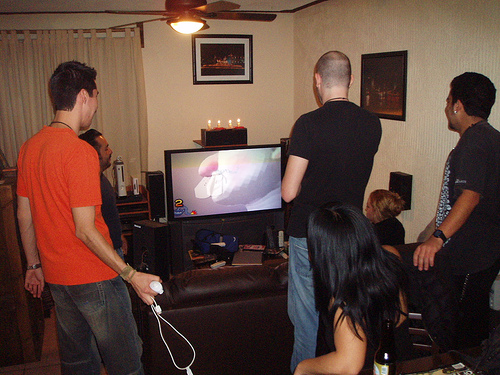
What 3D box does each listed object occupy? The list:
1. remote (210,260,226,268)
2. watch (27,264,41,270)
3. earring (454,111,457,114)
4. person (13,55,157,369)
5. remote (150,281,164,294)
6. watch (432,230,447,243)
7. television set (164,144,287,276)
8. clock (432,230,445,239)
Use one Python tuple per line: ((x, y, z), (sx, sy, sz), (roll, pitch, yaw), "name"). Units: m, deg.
((-0.301, 0.720, 3.875), (0.096, 0.028, 0.055), (-10, 24, -26), "remote")
((-1.319, 0.484, 2.510), (0.075, 0.034, 0.031), (-3, 9, -21), "watch")
((1.309, -0.479, 2.627), (0.016, 0.016, 0.004), (0, -6, 10), "earring")
((-0.936, 0.240, 2.299), (0.915, 1.847, 0.333), (6, 10, 33), "person")
((-0.494, 0.543, 2.216), (0.046, 0.066, 0.060), (-37, 4, -5), "remote")
((1.101, 0.279, 2.401), (0.036, 0.072, 0.053), (-39, 12, -36), "watch")
((-0.286, 0.231, 4.231), (1.274, 1.530, 0.157), (-3, 9, -17), "television set")
((1.100, 0.275, 2.412), (0.071, 0.043, 0.056), (7, 11, 37), "clock")
